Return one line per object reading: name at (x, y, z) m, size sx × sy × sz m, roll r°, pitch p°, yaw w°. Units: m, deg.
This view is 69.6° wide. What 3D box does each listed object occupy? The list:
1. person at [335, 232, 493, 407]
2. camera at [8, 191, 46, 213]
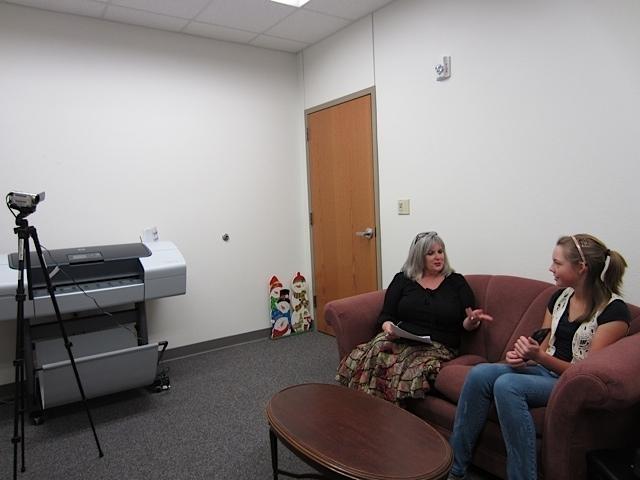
person at (0.600, 0.530, 2.986) m, size 0.824 × 1.214 × 0.729 m, roll 8°, pitch -2°, yaw -7°
camera at (-1.770, -0.229, 2.720) m, size 0.189 × 0.169 × 0.072 m, roll 4°, pitch 3°, yaw -16°
